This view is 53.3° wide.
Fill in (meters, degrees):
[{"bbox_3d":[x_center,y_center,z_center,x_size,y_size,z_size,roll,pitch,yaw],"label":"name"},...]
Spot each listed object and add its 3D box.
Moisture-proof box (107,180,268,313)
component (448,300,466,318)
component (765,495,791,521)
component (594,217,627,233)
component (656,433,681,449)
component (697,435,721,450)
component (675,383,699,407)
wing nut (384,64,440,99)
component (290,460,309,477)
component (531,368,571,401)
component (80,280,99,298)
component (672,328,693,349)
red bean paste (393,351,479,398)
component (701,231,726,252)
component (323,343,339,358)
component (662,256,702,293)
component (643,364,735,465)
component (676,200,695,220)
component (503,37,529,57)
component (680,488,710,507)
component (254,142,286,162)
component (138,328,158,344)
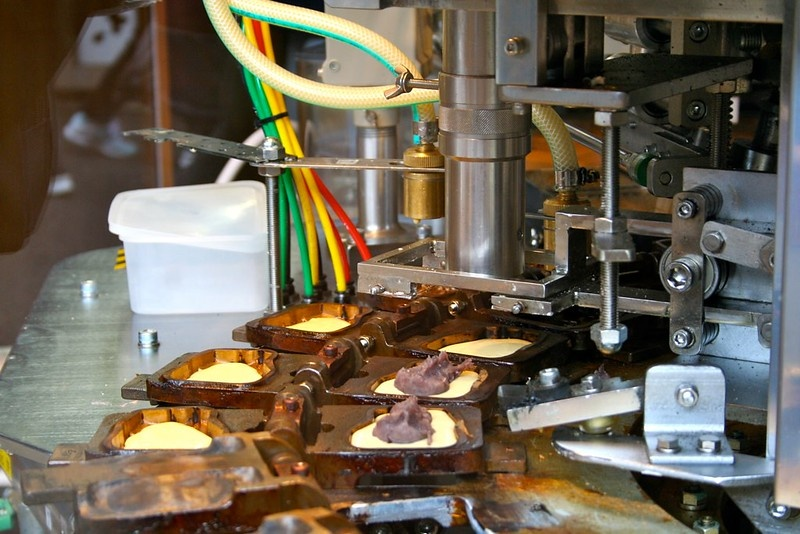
[{"bbox_3d":[-0.651,-0.068,2.682,0.517,0.311,0.408,-3,21,-6],"label":"Moisture-proof box"},{"bbox_3d":[0.159,0.119,2.300,0.048,0.040,0.038,-18,1,-42],"label":"component"},{"bbox_3d":[0.774,0.496,1.627,0.052,0.041,0.037,3,10,28],"label":"component"},{"bbox_3d":[0.438,-0.088,1.669,0.064,0.035,0.035,0,9,12],"label":"component"},{"bbox_3d":[0.542,0.359,1.616,0.039,0.025,0.039,-10,12,-44],"label":"component"},{"bbox_3d":[0.620,0.358,1.601,0.043,0.025,0.025,1,9,20],"label":"component"},{"bbox_3d":[0.584,0.264,1.625,0.044,0.043,0.014,-12,9,24],"label":"component"},{"bbox_3d":[0.033,-0.464,2.002,0.124,0.074,0.038,1,-30,32],"label":"wing nut"},{"bbox_3d":[-0.176,0.357,1.407,0.023,0.021,0.023,4,-5,-34],"label":"component"},{"bbox_3d":[0.323,0.257,1.715,0.075,0.069,0.072,-3,9,-1],"label":"component"},{"bbox_3d":[-1.087,0.076,2.802,0.060,0.054,0.059,0,2,-6],"label":"component"},{"bbox_3d":[0.600,0.151,1.698,0.030,0.030,0.017,-42,-11,36],"label":"component"},{"bbox_3d":[0.074,0.254,1.908,0.148,0.052,0.100,-11,13,-34],"label":"red bean paste"},{"bbox_3d":[0.631,-0.052,1.604,0.029,0.029,0.011,41,29,15],"label":"component"},{"bbox_3d":[-0.171,0.203,1.956,0.030,0.020,0.030,2,1,0],"label":"component"},{"bbox_3d":[0.584,0.018,1.685,0.057,0.062,0.055,1,14,28],"label":"component"},{"bbox_3d":[0.575,0.294,1.592,0.181,0.155,0.194,-3,9,11],"label":"component"},{"bbox_3d":[0.594,-0.120,1.656,0.038,0.038,0.019,1,9,17],"label":"component"},{"bbox_3d":[0.237,-0.451,1.626,0.038,0.037,0.021,-7,-1,42],"label":"component"},{"bbox_3d":[0.671,0.527,1.825,0.051,0.037,0.065,2,9,22],"label":"component"},{"bbox_3d":[-0.388,-0.337,2.339,0.060,0.065,0.068,-1,5,0],"label":"component"},{"bbox_3d":[-0.750,0.202,2.381,0.046,0.032,0.045,2,11,2],"label":"component"}]
